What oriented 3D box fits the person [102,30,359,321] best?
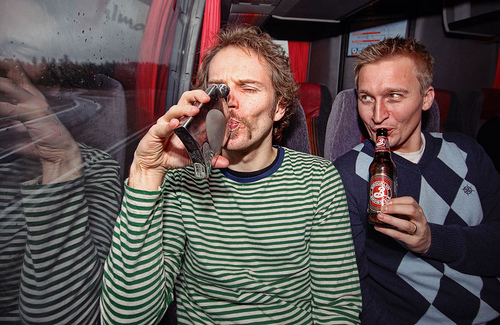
[{"bbox_3d":[-0.098,0.050,1.752,1.156,1.501,0.540,-1,-4,2],"label":"person"}]

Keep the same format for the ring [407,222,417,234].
[{"bbox_3d":[0.820,0.336,1.595,0.038,0.036,0.009,-16,5,-32],"label":"ring"}]
